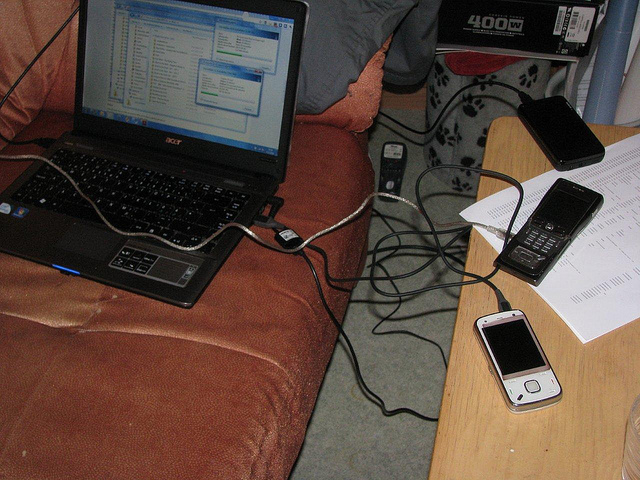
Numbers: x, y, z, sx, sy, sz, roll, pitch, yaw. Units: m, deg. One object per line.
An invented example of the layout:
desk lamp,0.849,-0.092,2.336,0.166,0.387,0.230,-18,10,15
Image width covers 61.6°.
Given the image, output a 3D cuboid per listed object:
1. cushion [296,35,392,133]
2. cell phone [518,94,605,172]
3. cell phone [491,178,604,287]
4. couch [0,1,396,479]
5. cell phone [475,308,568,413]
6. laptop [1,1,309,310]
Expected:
cushion,0.062,-0.305,1.065,0.213,0.178,0.058,0,21,6
cell phone,0.398,-0.178,0.892,0.092,0.029,0.141,-20,58,-9
cell phone,0.336,-0.011,0.795,0.101,0.035,0.212,34,68,27
couch,-0.131,0.098,1.273,1.026,0.221,0.874,13,63,9
cell phone,0.268,0.162,0.708,0.083,0.022,0.132,-15,55,-6
laptop,-0.294,-0.135,1.125,0.616,0.364,0.564,18,59,10
